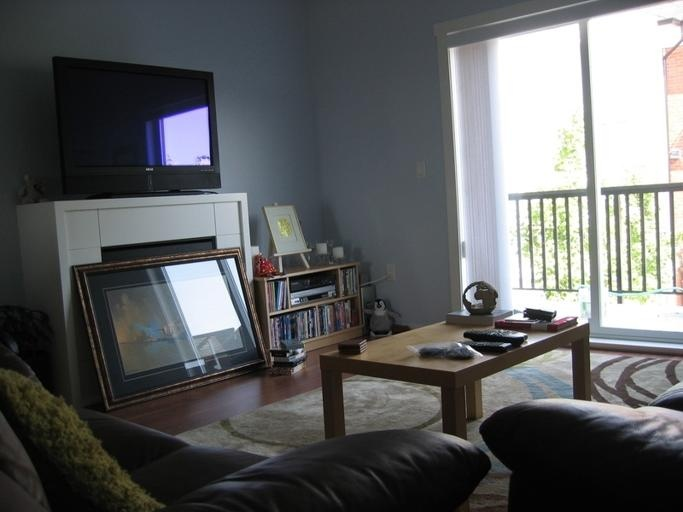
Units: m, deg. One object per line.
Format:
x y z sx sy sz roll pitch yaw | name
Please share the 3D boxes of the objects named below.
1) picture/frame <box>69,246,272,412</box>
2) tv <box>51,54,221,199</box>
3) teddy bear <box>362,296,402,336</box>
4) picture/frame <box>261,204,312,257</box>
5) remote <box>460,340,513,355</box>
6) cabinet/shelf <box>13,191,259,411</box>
-1.096 0.463 3.148 0.996 0.706 0.040 -9 -12 -43 | picture/frame
-1.349 -0.823 3.274 1.107 0.786 0.108 -6 7 -39 | tv
0.335 0.501 4.256 0.309 0.285 0.167 -1 2 -11 | teddy bear
-0.464 -0.212 4.136 0.448 0.467 0.267 -9 3 -44 | picture/frame
0.577 0.357 2.040 0.122 0.026 0.065 2 7 25 | remote
-1.257 0.276 3.034 0.447 1.065 1.306 1 7 38 | cabinet/shelf
